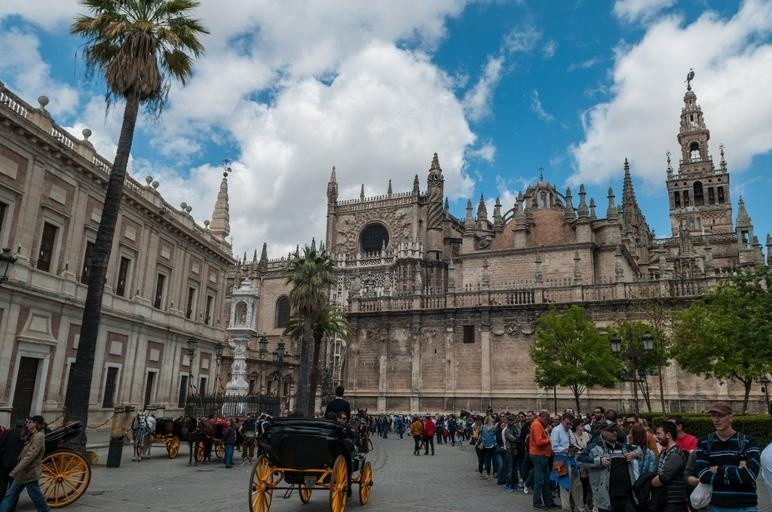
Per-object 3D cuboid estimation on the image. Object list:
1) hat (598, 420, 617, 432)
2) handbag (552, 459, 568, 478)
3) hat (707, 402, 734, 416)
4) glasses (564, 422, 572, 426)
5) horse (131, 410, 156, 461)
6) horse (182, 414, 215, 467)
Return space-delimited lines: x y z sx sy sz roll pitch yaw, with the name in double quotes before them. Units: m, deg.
"hat" 5.959 4.569 16.873 0.312 0.368 0.391 -1 -33 25
"handbag" 5.127 6.216 18.398 0.400 0.470 0.257 -6 -18 12
"hat" 7.779 3.571 14.628 0.467 0.343 0.420 -6 -18 13
"glasses" 5.385 4.966 18.620 0.170 0.085 0.211 0 -15 6
"horse" -10.007 7.384 25.987 0.917 2.004 0.992 5 -19 -22
"horse" -8.013 7.395 25.850 0.749 1.852 2.836 -8 -5 -15
